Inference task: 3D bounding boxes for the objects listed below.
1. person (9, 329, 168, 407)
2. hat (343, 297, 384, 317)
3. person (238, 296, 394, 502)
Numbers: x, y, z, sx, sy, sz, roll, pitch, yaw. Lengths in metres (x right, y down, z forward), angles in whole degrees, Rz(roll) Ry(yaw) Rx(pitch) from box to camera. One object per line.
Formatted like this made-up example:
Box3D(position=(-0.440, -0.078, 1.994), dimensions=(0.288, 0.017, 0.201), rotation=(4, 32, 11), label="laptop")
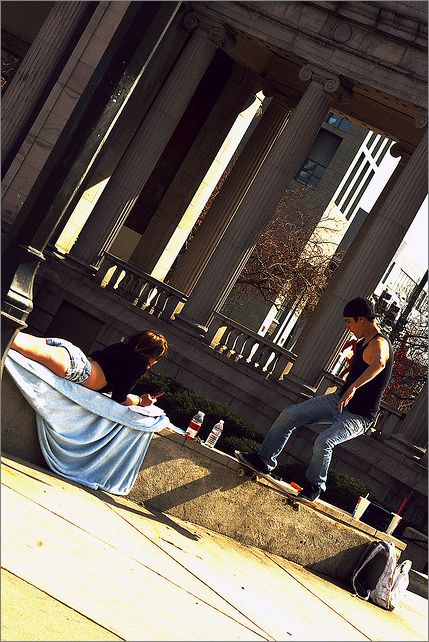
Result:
Box3D(position=(-1.183, 0.242, 8.148), dimensions=(1.276, 0.914, 0.329), rotation=(34, 0, -32), label="person")
Box3D(position=(1.633, -0.130, 9.212), dimensions=(0.305, 0.235, 0.215), rotation=(-6, -25, 28), label="hat")
Box3D(position=(1.318, 0.870, 9.242), dimensions=(0.959, 2.600, 0.948), rotation=(35, -1, 29), label="person")
